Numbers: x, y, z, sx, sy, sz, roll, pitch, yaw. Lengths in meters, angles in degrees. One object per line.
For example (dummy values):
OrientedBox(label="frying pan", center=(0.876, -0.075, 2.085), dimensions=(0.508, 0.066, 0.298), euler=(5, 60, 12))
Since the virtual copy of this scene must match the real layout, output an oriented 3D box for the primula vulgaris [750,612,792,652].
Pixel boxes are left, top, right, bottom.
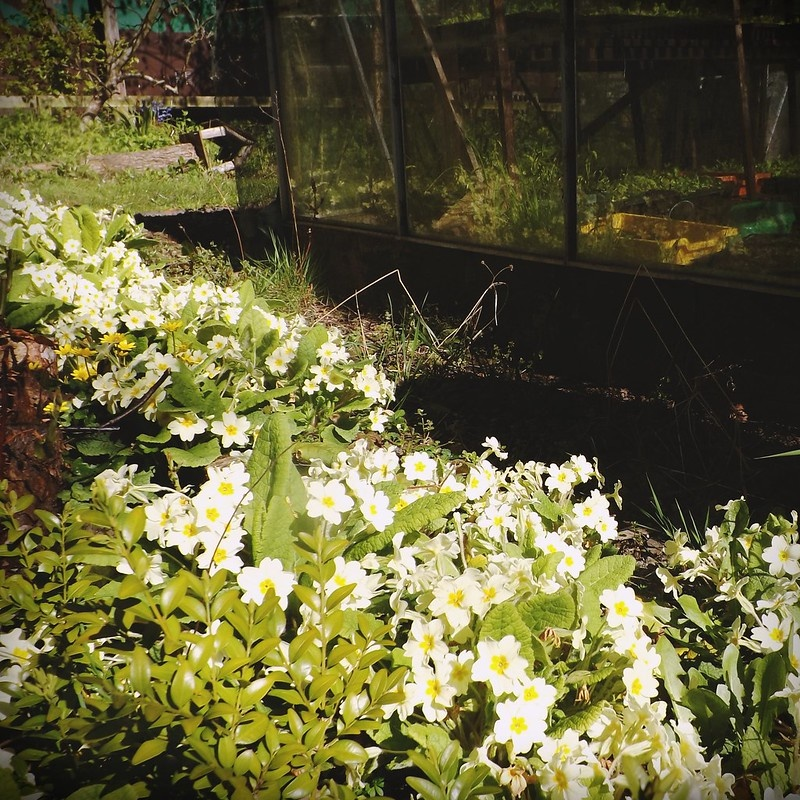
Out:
OrientedBox(label="primula vulgaris", center=(0.620, 0.395, 1.327), dimensions=(0.065, 0.018, 0.062), euler=(-45, 39, -17))
